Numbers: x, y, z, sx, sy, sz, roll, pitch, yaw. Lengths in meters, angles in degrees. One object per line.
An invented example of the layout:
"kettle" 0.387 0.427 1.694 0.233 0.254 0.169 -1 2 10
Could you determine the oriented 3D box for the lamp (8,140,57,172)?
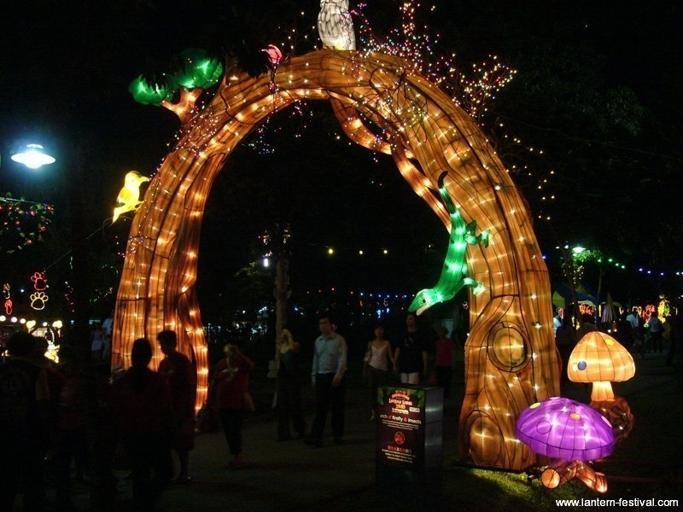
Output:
"lamp" -4.012 -1.305 8.042 0.611 0.276 0.618 -13 7 -25
